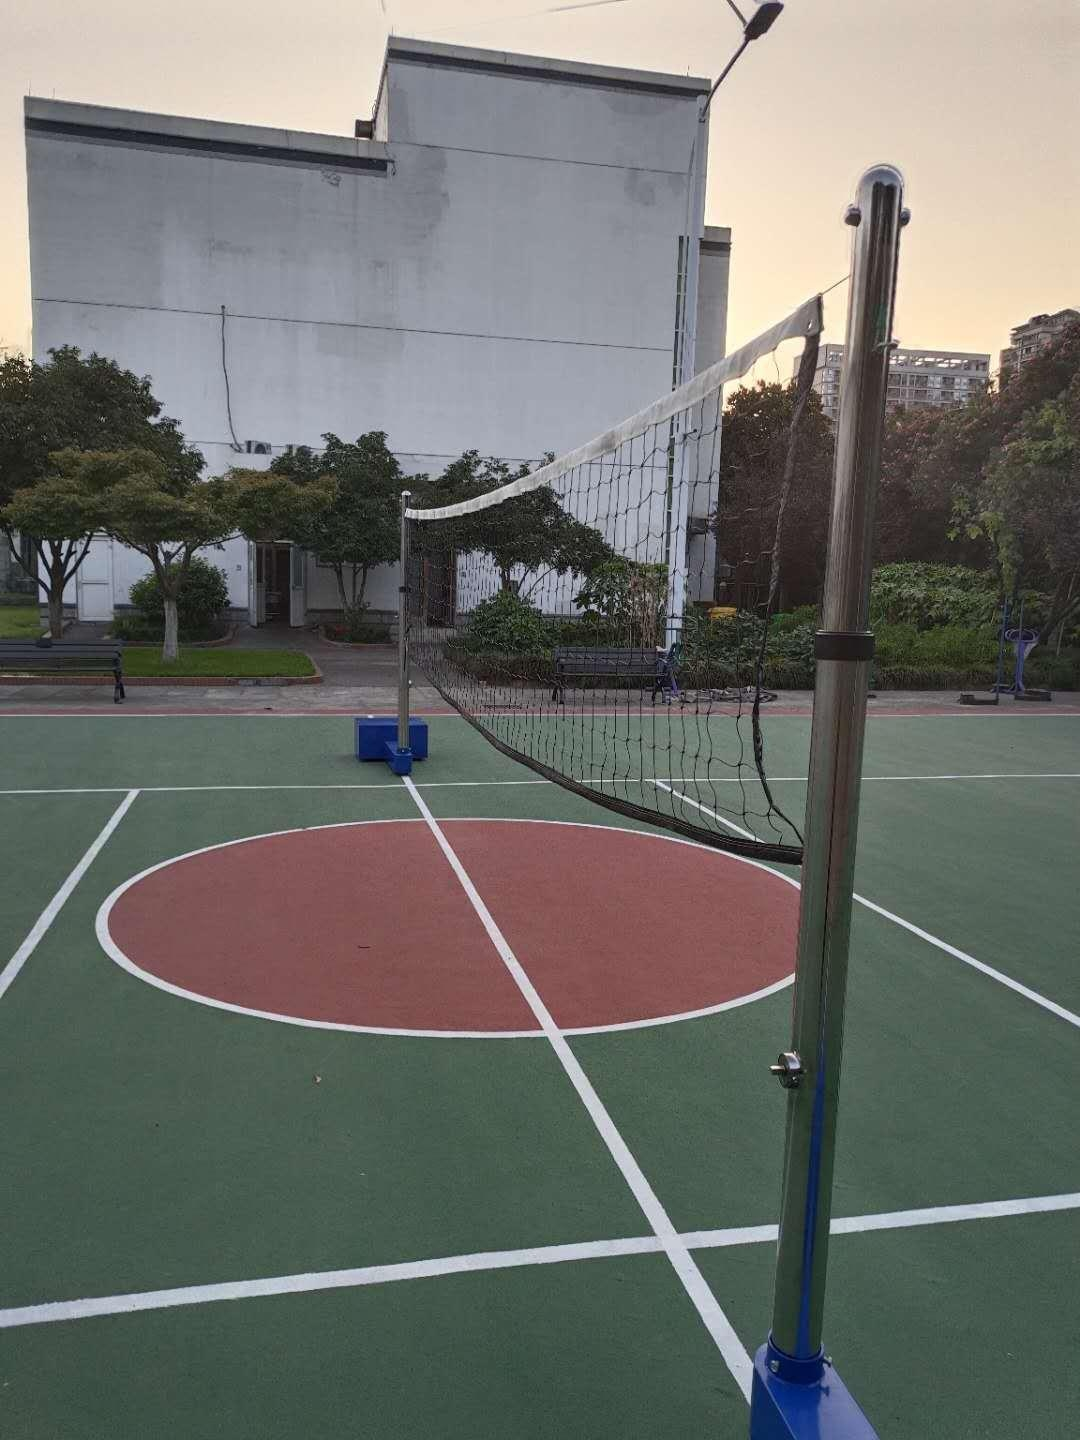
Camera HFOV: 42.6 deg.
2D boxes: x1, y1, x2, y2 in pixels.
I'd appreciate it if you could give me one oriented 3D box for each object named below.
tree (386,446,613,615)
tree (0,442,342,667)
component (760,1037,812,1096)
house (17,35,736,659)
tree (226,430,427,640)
[{"bbox_3d":[-0.511,-3.357,25.503,3.015,2.897,2.792,-7,-24,43],"label":"tree"},{"bbox_3d":[-5.415,-2.849,18.737,3.250,3.230,3.827,0,8,11],"label":"tree"},{"bbox_3d":[0.567,0.813,3.192,0.099,0.114,0.098,3,16,-5],"label":"component"},{"bbox_3d":[-3.641,-7.317,27.823,10.545,10.786,6.370,-1,12,-13],"label":"house"},{"bbox_3d":[-4.191,-3.879,27.979,2.919,3.660,2.797,-16,17,26],"label":"tree"}]
